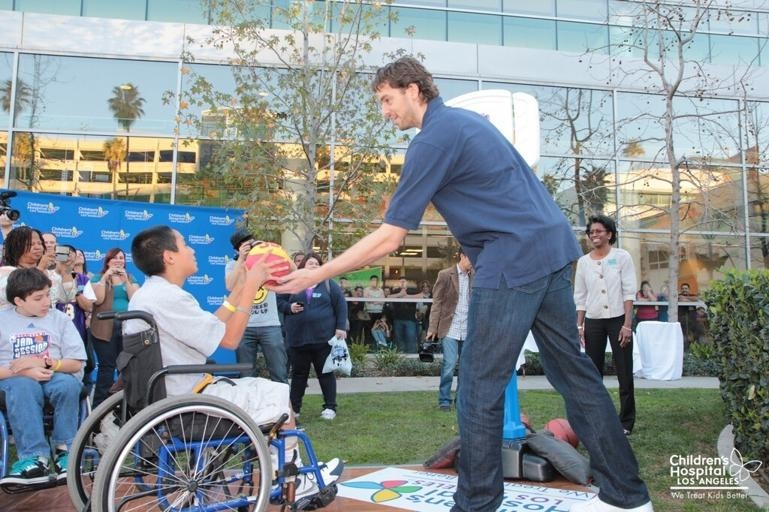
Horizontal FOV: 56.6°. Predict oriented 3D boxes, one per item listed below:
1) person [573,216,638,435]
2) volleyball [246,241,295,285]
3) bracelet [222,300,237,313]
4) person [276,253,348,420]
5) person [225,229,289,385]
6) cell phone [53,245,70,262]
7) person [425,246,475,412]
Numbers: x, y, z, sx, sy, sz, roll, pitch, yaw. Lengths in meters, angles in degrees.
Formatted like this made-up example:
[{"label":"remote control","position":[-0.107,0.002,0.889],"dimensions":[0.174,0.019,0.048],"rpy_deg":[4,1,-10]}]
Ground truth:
[{"label":"person","position":[2.870,0.697,9.168],"dimensions":[0.988,3.000,1.074],"rpy_deg":[0,1,12]},{"label":"volleyball","position":[-1.041,0.059,6.767],"dimensions":[0.354,0.350,0.437],"rpy_deg":[46,-5,-33]},{"label":"bracelet","position":[-1.487,0.487,6.826],"dimensions":[0.122,0.030,0.124],"rpy_deg":[22,-6,44]},{"label":"person","position":[-1.010,1.099,10.133],"dimensions":[0.937,2.239,0.846],"rpy_deg":[-2,2,0]},{"label":"person","position":[-1.751,0.863,9.751],"dimensions":[0.792,2.361,0.701],"rpy_deg":[0,13,1]},{"label":"cell phone","position":[-3.992,-0.034,8.846],"dimensions":[0.052,0.161,0.230],"rpy_deg":[-6,-14,41]},{"label":"person","position":[0.972,1.155,10.611],"dimensions":[0.795,2.168,0.766],"rpy_deg":[-2,3,4]}]
